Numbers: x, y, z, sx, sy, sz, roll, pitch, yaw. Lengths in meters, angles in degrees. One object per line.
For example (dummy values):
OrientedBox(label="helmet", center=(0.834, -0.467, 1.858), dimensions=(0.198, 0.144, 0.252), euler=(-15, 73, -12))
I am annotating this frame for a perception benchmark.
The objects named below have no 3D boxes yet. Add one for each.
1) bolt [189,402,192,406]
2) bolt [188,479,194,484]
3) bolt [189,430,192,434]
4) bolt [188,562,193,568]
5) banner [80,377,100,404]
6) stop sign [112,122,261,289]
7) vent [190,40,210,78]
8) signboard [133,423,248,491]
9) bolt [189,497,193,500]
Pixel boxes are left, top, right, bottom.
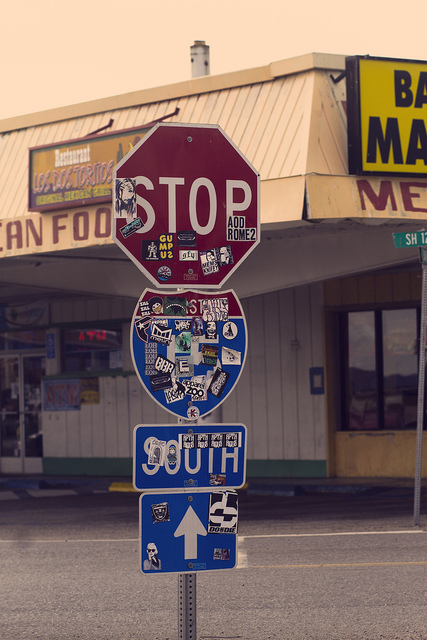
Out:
OrientedBox(label="bolt", center=(-0.163, 0.573, 10.197), dimensions=(0.017, 0.016, 0.004), euler=(-3, 1, -20))
OrientedBox(label="bolt", center=(-0.164, 1.090, 10.163), dimensions=(0.030, 0.036, 0.008), euler=(-5, -1, -8))
OrientedBox(label="bolt", center=(-0.162, 0.758, 10.160), dimensions=(0.017, 0.019, 0.003), euler=(-3, 1, -19))
OrientedBox(label="bolt", center=(-0.164, 1.650, 10.131), dimensions=(0.031, 0.037, 0.010), euler=(-1, -1, -9))
OrientedBox(label="banner", center=(-2.004, 1.140, 24.188), dimensions=(0.384, 0.533, 0.067), euler=(1, 1, 42))
OrientedBox(label="stop sign", center=(-0.183, -0.784, 10.354), dimensions=(1.017, 1.257, 0.103), euler=(1, 28, -1))
OrientedBox(label="vent", center=(-0.206, -3.628, 21.079), dimensions=(0.239, 0.403, 0.657), euler=(-2, 1, -2))
OrientedBox(label="signboard", center=(-0.169, 0.924, 10.205), dimensions=(0.778, 0.339, 0.119), euler=(-3, 1, -7))
OrientedBox(label="bolt", center=(-0.160, 1.205, 10.162), dimensions=(0.021, 0.010, 0.003), euler=(-3, 1, -2))
